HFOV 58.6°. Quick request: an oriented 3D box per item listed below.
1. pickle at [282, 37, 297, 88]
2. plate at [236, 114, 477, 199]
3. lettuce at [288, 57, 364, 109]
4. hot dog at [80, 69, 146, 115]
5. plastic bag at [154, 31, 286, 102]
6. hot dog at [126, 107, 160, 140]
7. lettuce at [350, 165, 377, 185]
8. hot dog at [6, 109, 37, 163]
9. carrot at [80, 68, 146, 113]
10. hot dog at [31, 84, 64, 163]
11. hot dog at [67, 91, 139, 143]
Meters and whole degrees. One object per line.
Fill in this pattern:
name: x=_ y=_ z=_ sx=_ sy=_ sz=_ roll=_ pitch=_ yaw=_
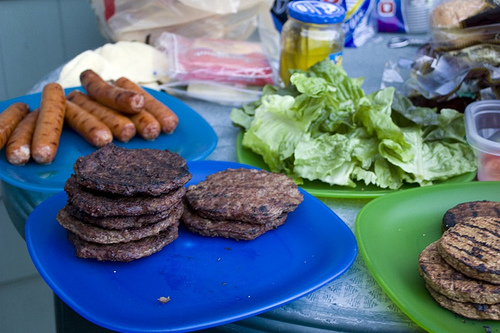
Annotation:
pickle: x=0.222 y=-0.608 z=2.517 sx=0.095 sy=0.086 sz=0.338 roll=0 pitch=76 yaw=11
plate: x=0.406 y=-0.027 z=1.840 sx=0.889 sy=1.010 sz=0.133 roll=-4 pitch=72 yaw=15
lettuce: x=0.379 y=-0.377 z=2.157 sx=0.248 sy=0.053 sz=0.264 roll=-23 pitch=64 yaw=-39
hot dog: x=-0.728 y=-0.386 z=2.392 sx=0.541 sy=0.159 sz=0.147 roll=30 pitch=18 yaw=38
plastic bag: x=-0.170 y=-0.601 z=2.747 sx=0.678 sy=0.198 sz=0.583 roll=8 pitch=34 yaw=-8
hot dog: x=-0.532 y=-0.221 z=2.265 sx=0.092 sy=0.067 sz=0.194 roll=-8 pitch=31 yaw=-33
lettuce: x=0.499 y=0.038 z=1.923 sx=0.086 sy=0.028 sz=0.079 roll=16 pitch=45 yaw=22
hot dog: x=-1.070 y=-0.131 z=2.080 sx=0.077 sy=0.066 sz=0.277 roll=10 pitch=31 yaw=-8
carrot: x=-0.746 y=-0.391 z=2.373 sx=0.474 sy=0.137 sz=0.124 roll=26 pitch=25 yaw=32
hot dog: x=-0.967 y=-0.194 z=2.137 sx=0.128 sy=0.112 sz=0.484 roll=-2 pitch=42 yaw=-10
hot dog: x=-0.839 y=-0.277 z=2.405 sx=0.601 sy=0.152 sz=0.165 roll=31 pitch=52 yaw=31
